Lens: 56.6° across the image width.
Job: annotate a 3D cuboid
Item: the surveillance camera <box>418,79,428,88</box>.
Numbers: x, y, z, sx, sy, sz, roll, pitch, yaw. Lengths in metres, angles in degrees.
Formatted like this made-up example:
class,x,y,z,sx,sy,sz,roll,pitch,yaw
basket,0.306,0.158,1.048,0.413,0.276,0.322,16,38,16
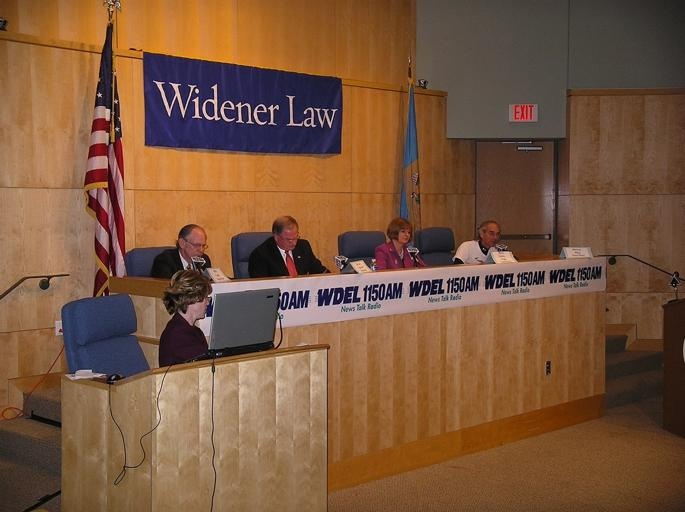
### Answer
class,x,y,z,sx,sy,sz,roll,pitch,yaw
surveillance camera,1.087,-2.326,8.602,0.122,0.111,0.115,0,6,11

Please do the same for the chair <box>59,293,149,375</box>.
class,x,y,z,sx,sy,sz,roll,pitch,yaw
chair,-1.649,0.553,4.501,0.652,0.696,0.466,-11,-6,44

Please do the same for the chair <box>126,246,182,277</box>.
class,x,y,z,sx,sy,sz,roll,pitch,yaw
chair,-1.679,0.057,5.580,0.263,0.385,0.304,0,-1,-34

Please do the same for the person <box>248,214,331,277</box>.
class,x,y,z,sx,sy,sz,roll,pitch,yaw
person,-0.547,-0.105,6.036,0.459,0.596,0.835,8,12,35

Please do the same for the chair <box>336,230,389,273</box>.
class,x,y,z,sx,sy,sz,roll,pitch,yaw
chair,0.231,-0.043,6.758,0.358,0.544,0.402,2,-4,-14

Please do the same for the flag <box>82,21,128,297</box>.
class,x,y,z,sx,sy,sz,roll,pitch,yaw
flag,-2.246,-0.922,6.000,0.357,2.545,0.600,-3,10,-25

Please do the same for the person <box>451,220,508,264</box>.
class,x,y,z,sx,sy,sz,roll,pitch,yaw
person,1.337,-0.106,6.292,0.467,0.430,0.923,3,11,10

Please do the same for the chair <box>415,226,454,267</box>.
class,x,y,z,sx,sy,sz,roll,pitch,yaw
chair,1.068,-0.113,7.284,0.384,0.588,0.426,1,-2,-17

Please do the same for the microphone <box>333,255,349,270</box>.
class,x,y,z,sx,sy,sz,roll,pitch,yaw
microphone,-0.007,0.046,5.088,0.097,0.109,0.124,-1,3,0

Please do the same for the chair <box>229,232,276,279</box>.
class,x,y,z,sx,sy,sz,roll,pitch,yaw
chair,-0.887,-0.017,6.025,0.334,0.527,0.402,1,-3,-15
